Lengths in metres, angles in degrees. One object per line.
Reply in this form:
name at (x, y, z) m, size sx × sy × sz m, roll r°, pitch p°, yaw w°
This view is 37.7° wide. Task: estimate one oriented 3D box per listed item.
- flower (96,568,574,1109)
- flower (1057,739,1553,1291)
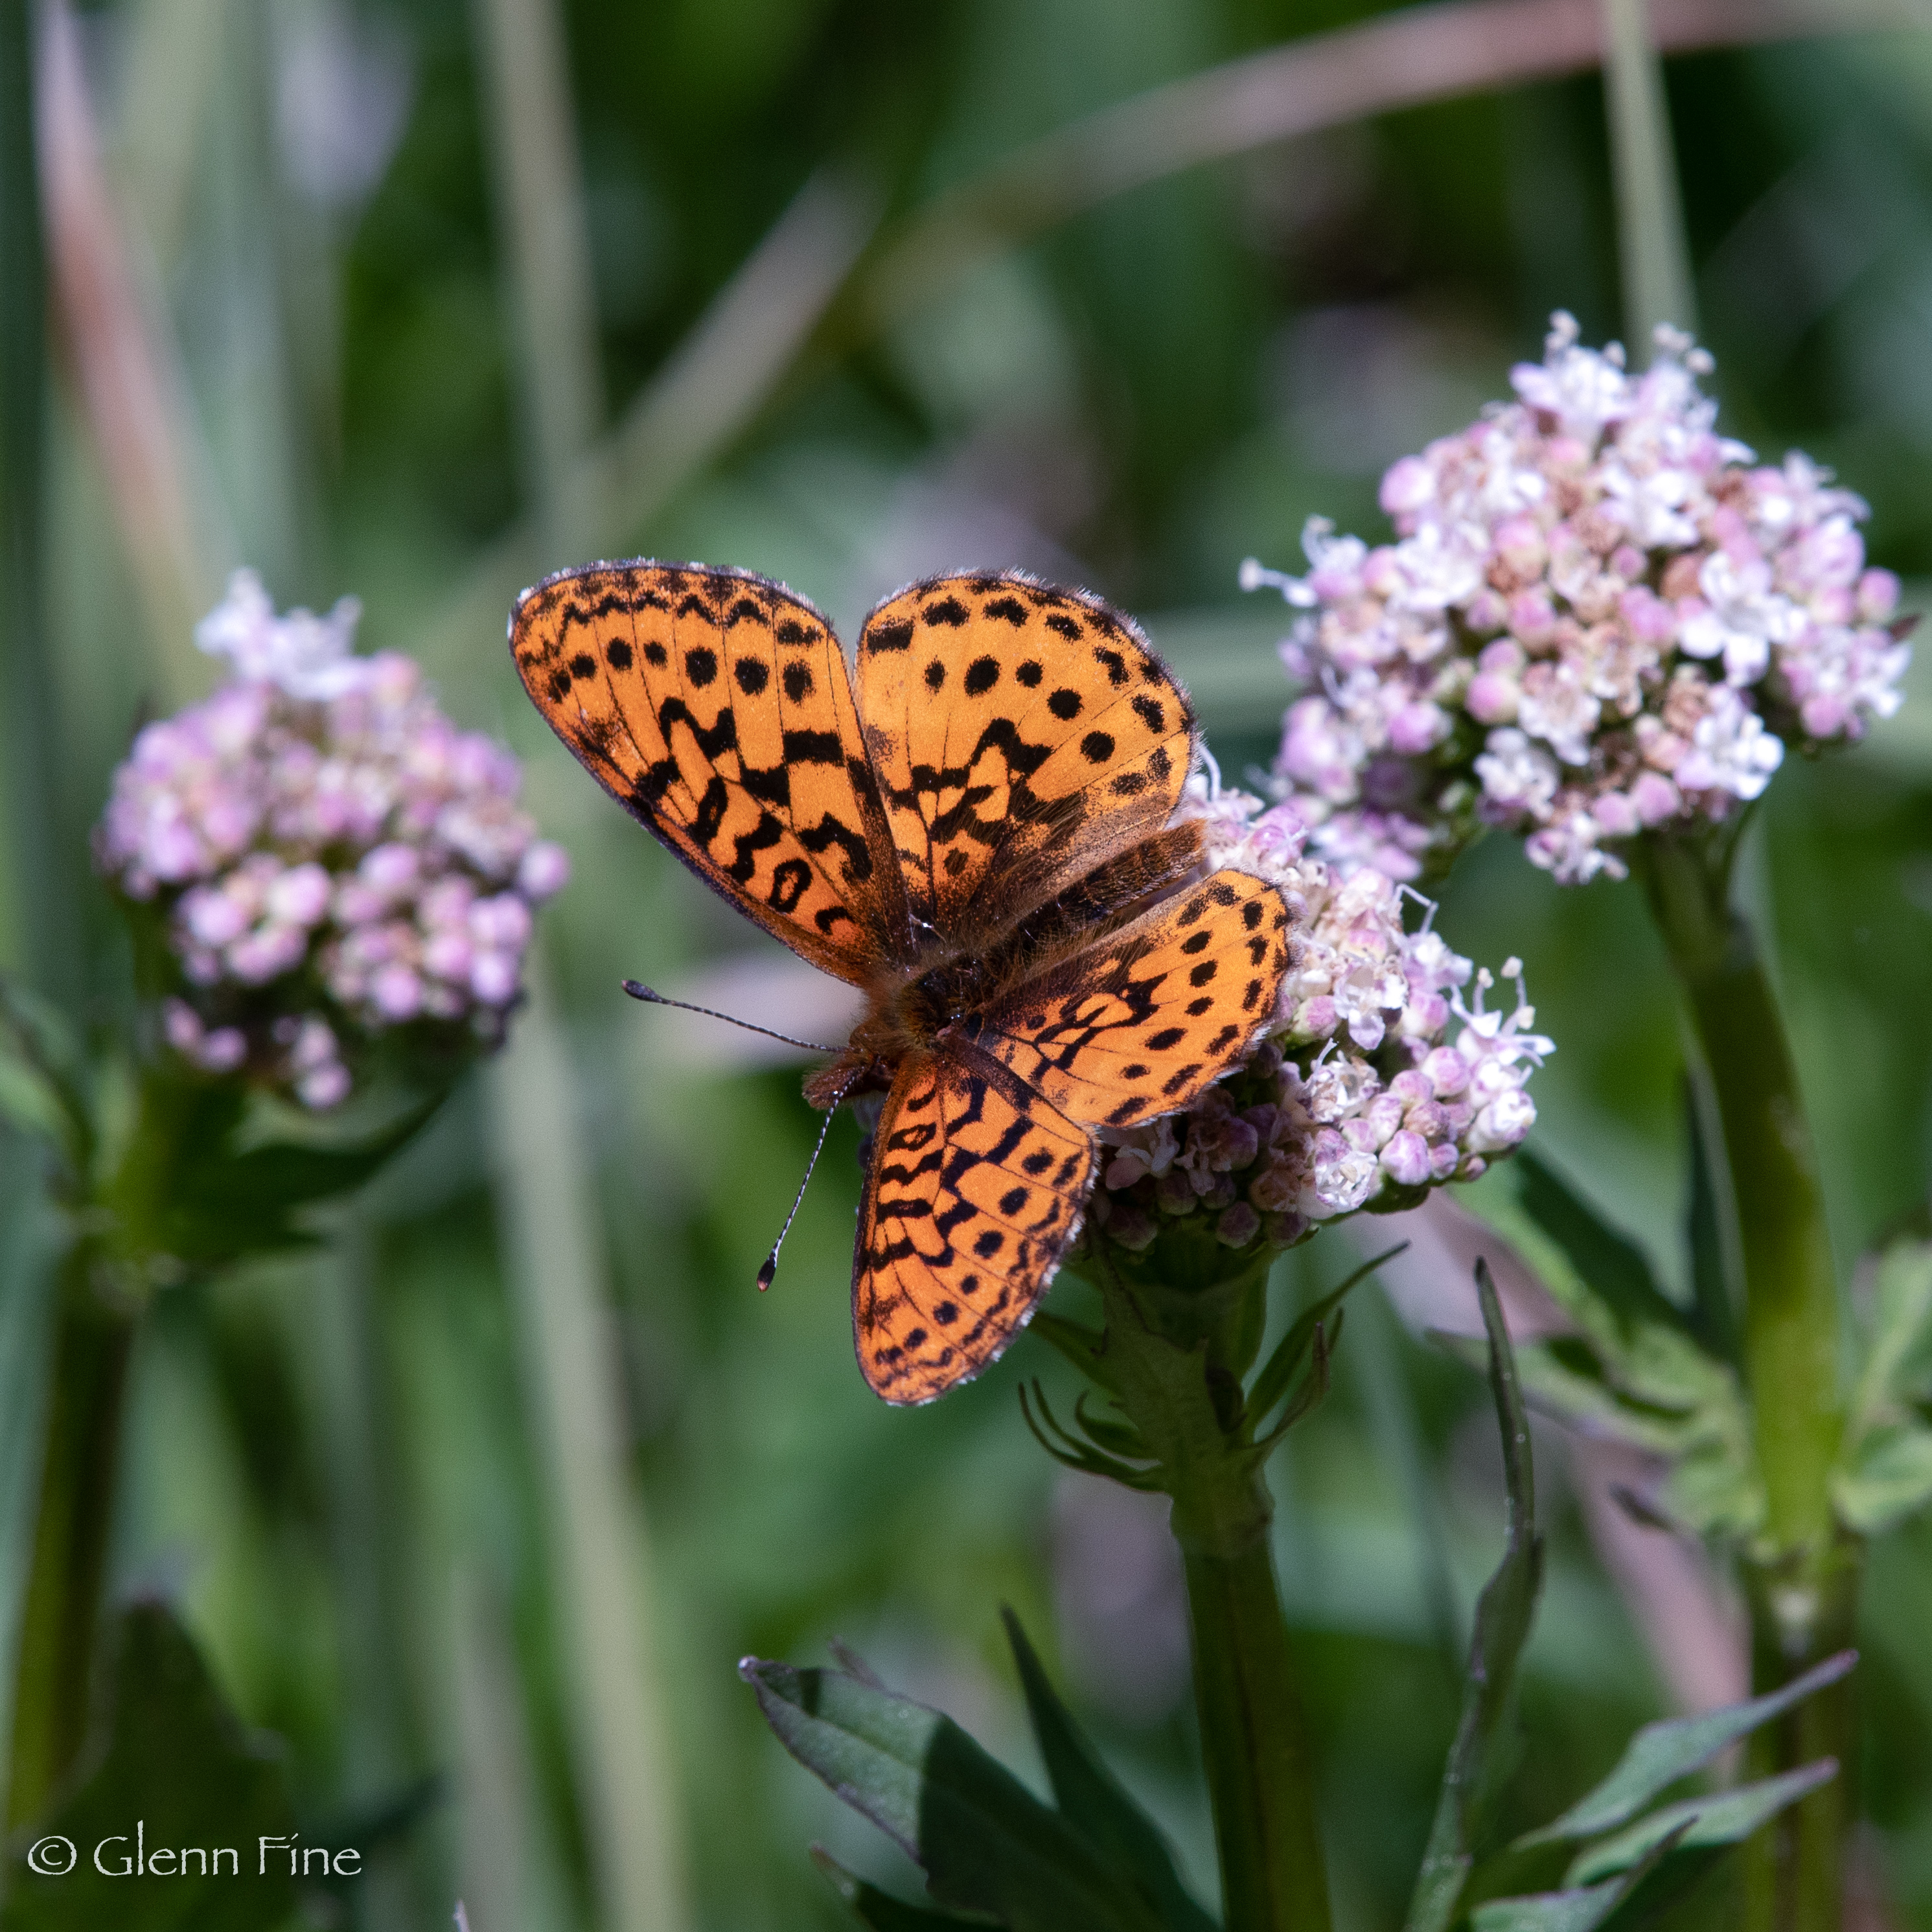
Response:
flower at (-0.639, -0.175, 2.929) m, size 0.415 × 0.287 × 0.551 m, roll 26°, pitch 17°, yaw -11°
flower at (0.316, 0.065, 2.666) m, size 0.412 × 0.206 × 0.411 m, roll -37°, pitch 42°, yaw -15°
